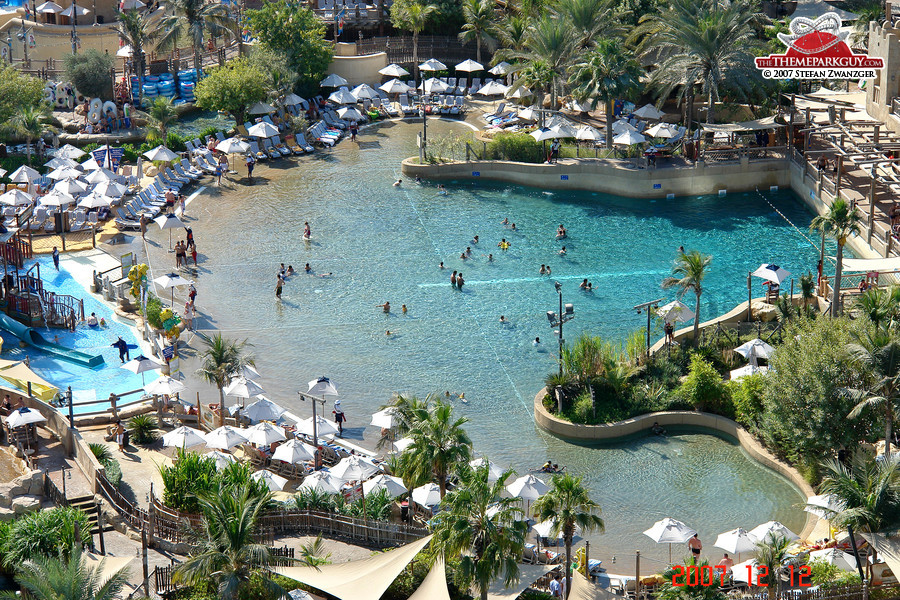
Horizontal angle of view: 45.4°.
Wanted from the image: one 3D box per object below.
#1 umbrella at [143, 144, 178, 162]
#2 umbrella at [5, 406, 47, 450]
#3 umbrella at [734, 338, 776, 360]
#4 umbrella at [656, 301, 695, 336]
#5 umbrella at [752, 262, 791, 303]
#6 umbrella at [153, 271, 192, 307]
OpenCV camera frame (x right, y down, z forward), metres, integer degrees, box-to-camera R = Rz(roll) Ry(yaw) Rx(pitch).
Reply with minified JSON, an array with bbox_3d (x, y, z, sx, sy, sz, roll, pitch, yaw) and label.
[{"bbox_3d":[-22.222,-11.085,82.398,1.956,1.168,2.424,-19,25,-35],"label":"umbrella"},{"bbox_3d":[-20.537,6.186,51.978,1.760,1.800,1.199,3,21,19],"label":"umbrella"},{"bbox_3d":[16.697,2.714,58.763,1.251,0.597,1.291,-3,27,-8],"label":"umbrella"},{"bbox_3d":[12.978,1.028,62.404,1.948,2.017,1.906,1,24,4],"label":"umbrella"},{"bbox_3d":[19.489,-1.060,65.630,2.558,1.897,2.336,-4,40,5],"label":"umbrella"},{"bbox_3d":[-17.640,-0.737,67.604,1.889,1.413,1.963,8,29,6],"label":"umbrella"}]
